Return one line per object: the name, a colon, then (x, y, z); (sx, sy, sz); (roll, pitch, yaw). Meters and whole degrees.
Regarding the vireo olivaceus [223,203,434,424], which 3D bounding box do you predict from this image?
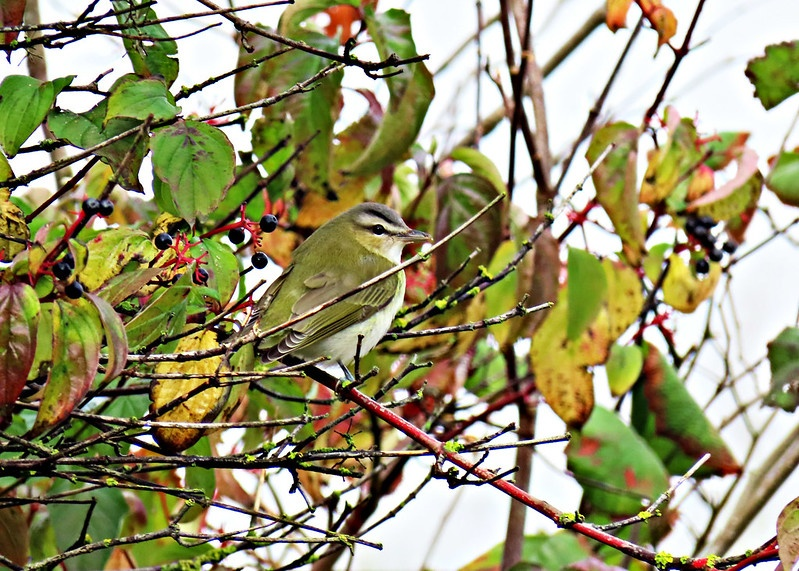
vireo olivaceus: (-0.478, 0.031, 6.270); (0.637, 1.217, 0.995); (10, -76, 52)
